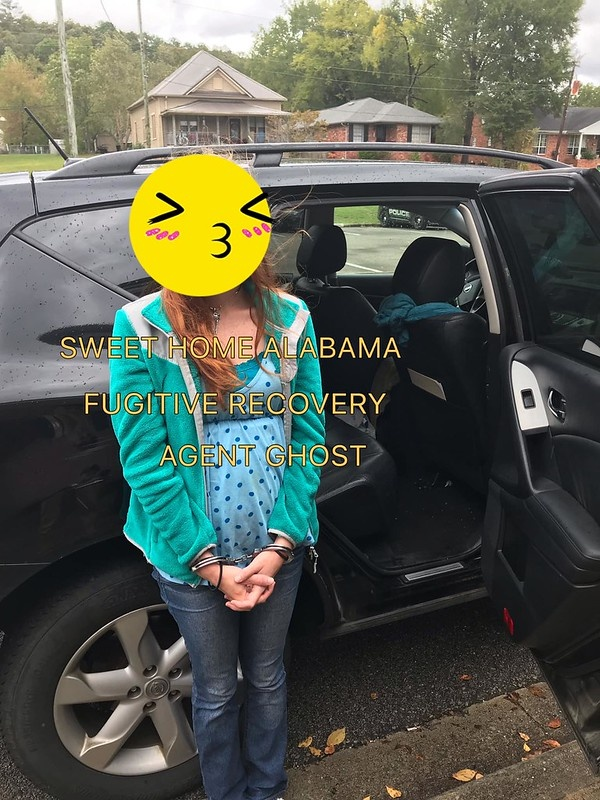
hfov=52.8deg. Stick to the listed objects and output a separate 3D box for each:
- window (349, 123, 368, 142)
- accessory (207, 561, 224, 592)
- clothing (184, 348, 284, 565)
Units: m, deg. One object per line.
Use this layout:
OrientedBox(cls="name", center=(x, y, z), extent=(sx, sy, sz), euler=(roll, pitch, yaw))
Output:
OrientedBox(cls="window", center=(4.817, -22.111, 49.634), extent=(1.561, 1.222, 0.885), euler=(1, 12, 6))
OrientedBox(cls="accessory", center=(-0.164, 0.344, 1.192), extent=(0.030, 0.069, 0.027), euler=(-4, 12, -16))
OrientedBox(cls="clothing", center=(-0.131, 0.092, 1.244), extent=(0.199, 0.371, 0.109), euler=(-2, 10, -26))
